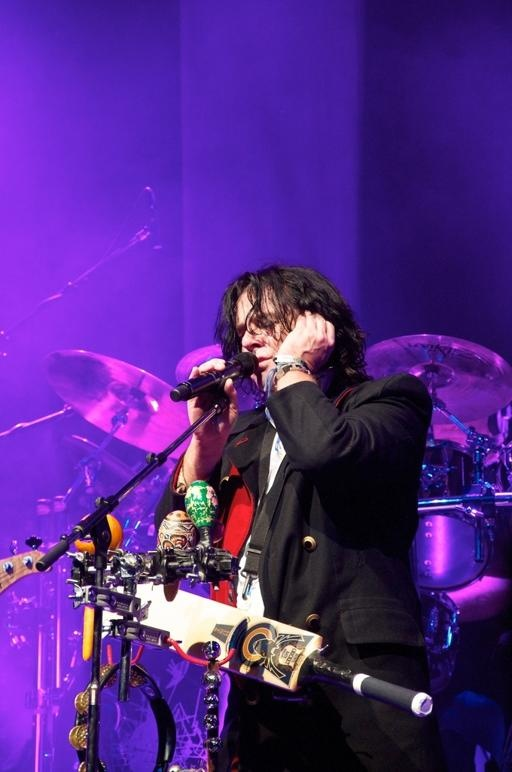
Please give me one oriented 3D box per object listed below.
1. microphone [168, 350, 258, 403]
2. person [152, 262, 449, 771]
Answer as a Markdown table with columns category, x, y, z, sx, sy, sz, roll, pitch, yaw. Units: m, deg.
| category | x | y | z | sx | sy | sz | roll | pitch | yaw |
| --- | --- | --- | --- | --- | --- | --- | --- | --- | --- |
| microphone | -0.110 | -0.028 | 1.886 | 0.080 | 0.078 | 0.312 | 4 | 15 | 38 |
| person | 0.106 | 0.252 | 1.887 | 0.609 | 1.242 | 0.704 | -1 | -3 | -14 |
